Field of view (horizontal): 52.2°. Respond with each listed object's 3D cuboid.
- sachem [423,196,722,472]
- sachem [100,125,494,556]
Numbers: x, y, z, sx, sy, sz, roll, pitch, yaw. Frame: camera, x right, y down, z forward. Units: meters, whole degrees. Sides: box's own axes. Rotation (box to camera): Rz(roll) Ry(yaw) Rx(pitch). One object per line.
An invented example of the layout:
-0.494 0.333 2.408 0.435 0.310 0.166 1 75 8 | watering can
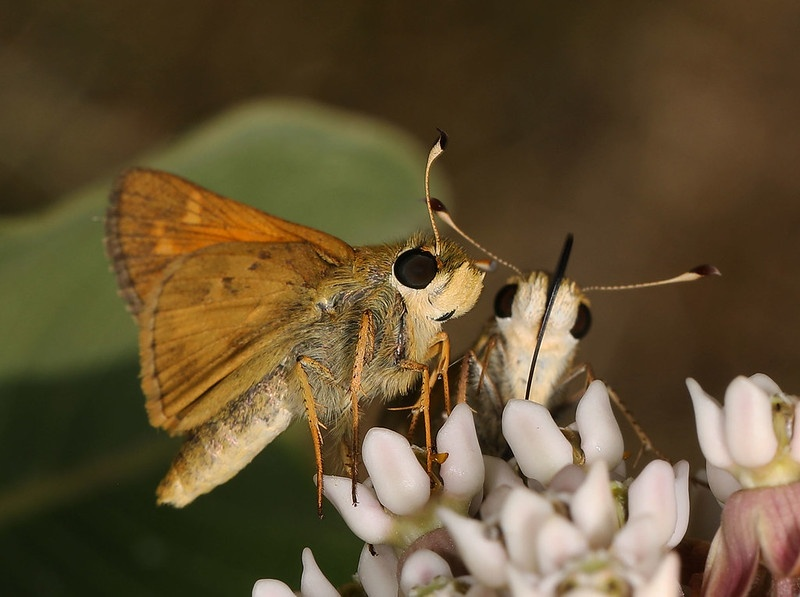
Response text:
0.212 0.074 1.150 0.314 0.370 0.239 8 40 -16 | sachem
-0.138 0.029 1.260 0.554 0.516 0.281 -9 -21 1 | sachem
